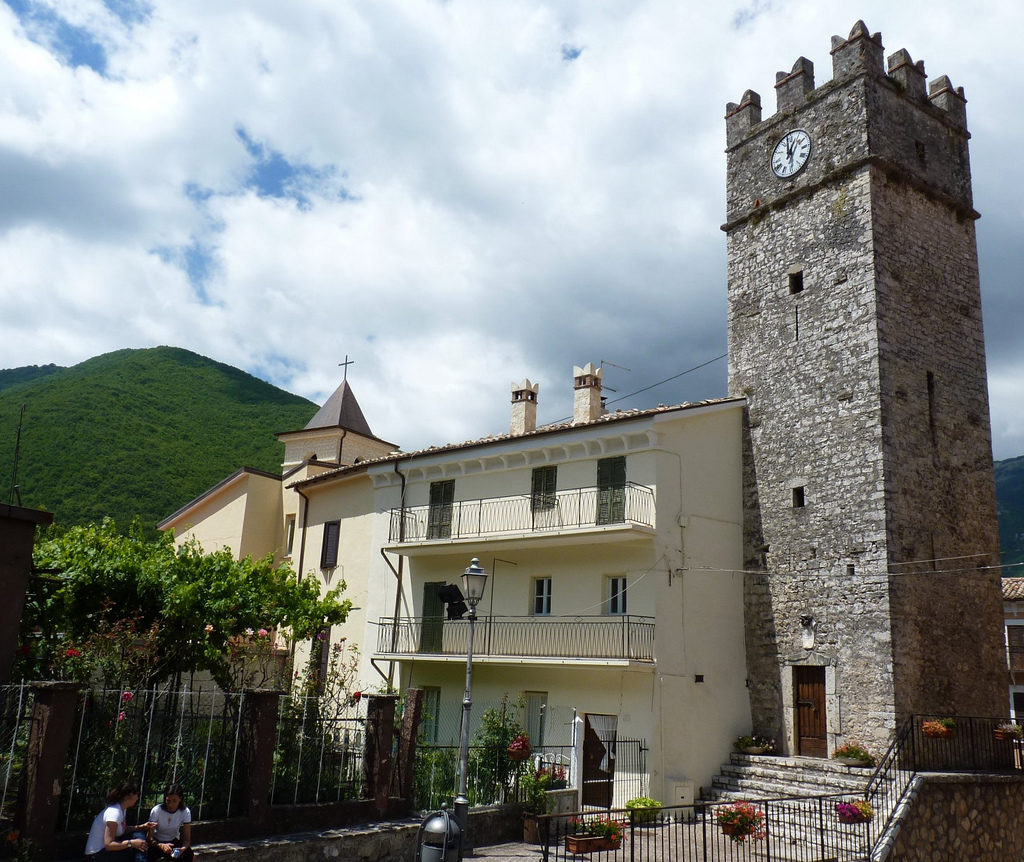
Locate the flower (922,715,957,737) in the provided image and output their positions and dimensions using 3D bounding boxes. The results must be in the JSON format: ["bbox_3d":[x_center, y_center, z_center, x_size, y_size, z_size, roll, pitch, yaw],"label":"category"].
[{"bbox_3d":[8.901,6.236,16.693,0.513,0.284,0.487,3,-8,-15],"label":"flower"}]

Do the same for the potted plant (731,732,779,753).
[{"bbox_3d":[5.820,7.512,19.038,0.790,0.441,0.691,9,-21,-22],"label":"potted plant"}]

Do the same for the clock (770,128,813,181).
[{"bbox_3d":[7.691,-7.547,21.802,0.151,1.548,1.248,16,-31,-30],"label":"clock"}]

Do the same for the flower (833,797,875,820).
[{"bbox_3d":[5.710,6.419,13.363,0.504,0.334,0.504,-15,-25,34],"label":"flower"}]

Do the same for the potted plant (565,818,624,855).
[{"bbox_3d":[1.367,6.875,13.419,1.136,0.555,0.673,11,-22,-26],"label":"potted plant"}]

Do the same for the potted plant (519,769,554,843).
[{"bbox_3d":[0.421,7.143,15.103,0.563,1.184,1.420,0,-19,3],"label":"potted plant"}]
